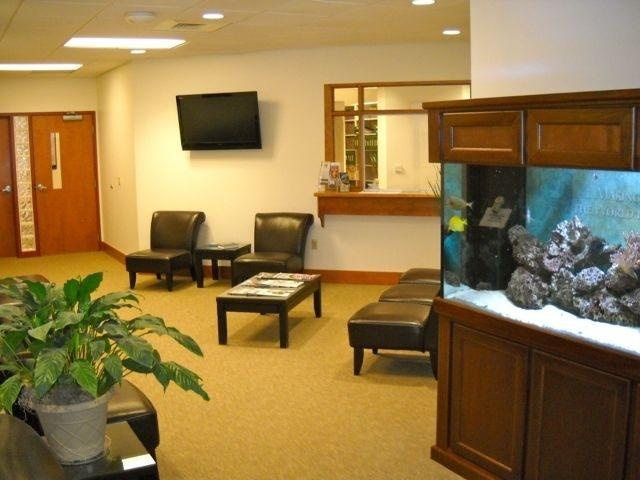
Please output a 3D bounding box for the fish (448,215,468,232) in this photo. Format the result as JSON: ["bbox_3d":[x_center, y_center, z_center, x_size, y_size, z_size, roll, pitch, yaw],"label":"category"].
[{"bbox_3d":[0.752,-0.090,2.687,0.019,0.094,0.107,-9,10,-37],"label":"fish"}]

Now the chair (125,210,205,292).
[{"bbox_3d":[-2.195,0.113,7.241,1.125,1.242,1.249,2,4,19],"label":"chair"}]

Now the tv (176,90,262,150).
[{"bbox_3d":[-1.437,-1.783,7.245,1.064,0.641,0.069,-1,20,11],"label":"tv"}]

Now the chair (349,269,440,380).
[{"bbox_3d":[0.707,0.807,4.531,0.742,0.604,1.187,-1,7,13],"label":"chair"}]

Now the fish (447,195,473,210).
[{"bbox_3d":[0.752,-0.195,2.656,0.169,0.085,0.041,17,16,41],"label":"fish"}]

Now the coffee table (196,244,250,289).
[{"bbox_3d":[-1.394,0.361,7.265,0.726,0.612,0.686,3,12,15],"label":"coffee table"}]

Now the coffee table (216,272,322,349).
[{"bbox_3d":[-0.534,0.725,5.279,0.826,0.579,1.081,0,7,19],"label":"coffee table"}]
